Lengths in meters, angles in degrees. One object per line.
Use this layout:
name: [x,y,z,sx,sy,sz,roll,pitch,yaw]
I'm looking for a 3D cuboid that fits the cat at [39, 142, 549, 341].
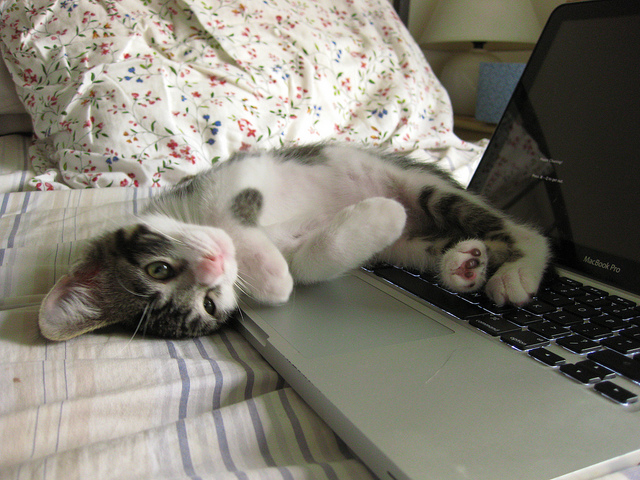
cat: [-0.012,0.011,0.585,0.427,0.128,0.271,9,16,-2]
